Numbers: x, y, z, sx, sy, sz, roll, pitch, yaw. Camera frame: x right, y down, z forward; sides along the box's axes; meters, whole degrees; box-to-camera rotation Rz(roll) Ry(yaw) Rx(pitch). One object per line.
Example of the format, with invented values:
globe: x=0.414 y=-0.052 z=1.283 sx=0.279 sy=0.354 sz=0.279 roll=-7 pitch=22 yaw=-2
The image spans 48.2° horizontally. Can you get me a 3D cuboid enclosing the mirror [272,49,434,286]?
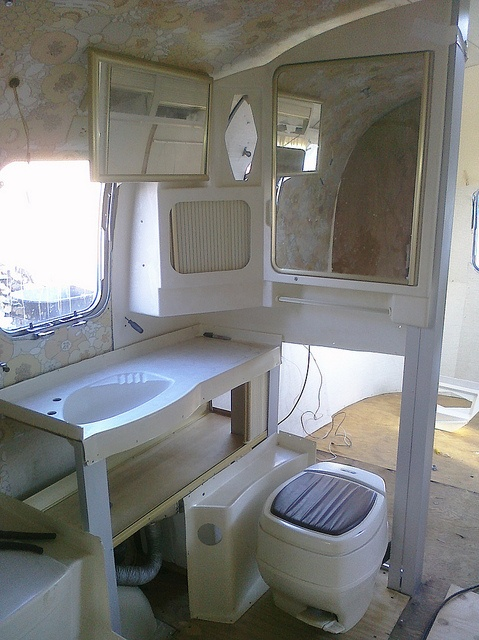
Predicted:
mirror: x=0.400 y=-0.537 z=1.804 sx=0.690 sy=0.926 sz=0.037 roll=15 pitch=24 yaw=40

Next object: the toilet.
toilet: x=0.298 y=0.734 z=1.960 sx=0.432 sy=0.402 sz=0.530 roll=6 pitch=20 yaw=29

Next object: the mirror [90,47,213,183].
mirror: x=-0.267 y=-0.625 z=1.718 sx=0.053 sy=0.363 sz=0.538 roll=16 pitch=21 yaw=32

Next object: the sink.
sink: x=-0.465 y=0.282 z=1.897 sx=0.403 sy=0.109 sz=0.223 roll=-9 pitch=14 yaw=-37
